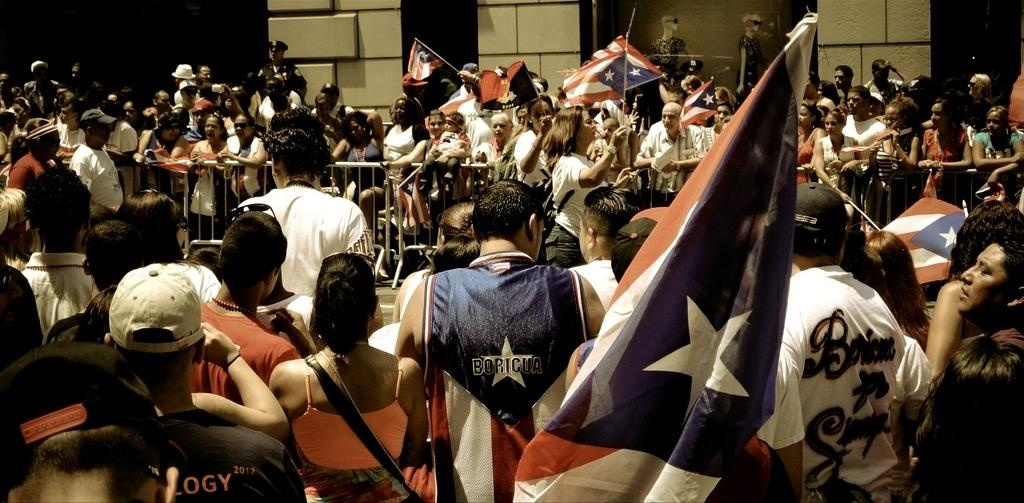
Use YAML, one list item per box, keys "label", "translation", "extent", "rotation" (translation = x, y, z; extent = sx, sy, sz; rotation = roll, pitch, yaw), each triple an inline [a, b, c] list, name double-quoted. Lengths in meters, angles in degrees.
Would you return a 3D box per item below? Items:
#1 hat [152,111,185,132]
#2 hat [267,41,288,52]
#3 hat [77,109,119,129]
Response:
- label: "hat"
  translation: [-6.224, -2.341, 20.253]
  extent: [0.434, 0.466, 0.570]
  rotation: [4, 11, 39]
- label: "hat"
  translation: [-5.103, -4.503, 24.209]
  extent: [0.413, 0.156, 0.426]
  rotation: [1, -4, 7]
- label: "hat"
  translation: [-6.739, -2.126, 17.940]
  extent: [0.566, 0.248, 0.341]
  rotation: [-3, 7, -21]
